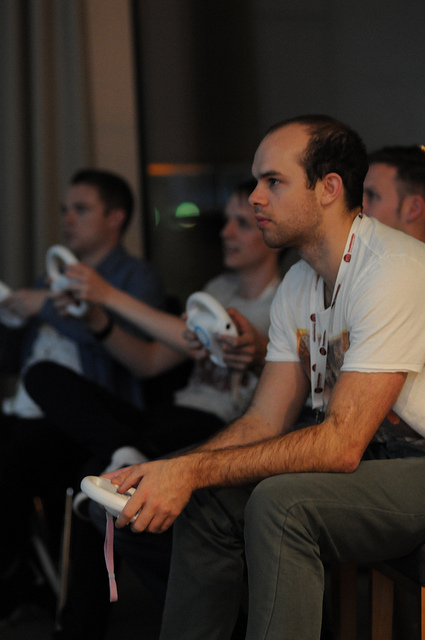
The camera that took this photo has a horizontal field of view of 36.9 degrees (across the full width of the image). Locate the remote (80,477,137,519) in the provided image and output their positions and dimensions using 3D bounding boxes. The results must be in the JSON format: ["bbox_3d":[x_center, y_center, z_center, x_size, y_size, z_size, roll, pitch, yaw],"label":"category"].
[{"bbox_3d":[-0.155,0.260,0.929,0.055,0.037,0.090,-4,12,-23],"label":"remote"}]

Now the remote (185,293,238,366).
[{"bbox_3d":[-0.008,0.013,1.329,0.052,0.148,0.120,-31,35,-34],"label":"remote"}]
